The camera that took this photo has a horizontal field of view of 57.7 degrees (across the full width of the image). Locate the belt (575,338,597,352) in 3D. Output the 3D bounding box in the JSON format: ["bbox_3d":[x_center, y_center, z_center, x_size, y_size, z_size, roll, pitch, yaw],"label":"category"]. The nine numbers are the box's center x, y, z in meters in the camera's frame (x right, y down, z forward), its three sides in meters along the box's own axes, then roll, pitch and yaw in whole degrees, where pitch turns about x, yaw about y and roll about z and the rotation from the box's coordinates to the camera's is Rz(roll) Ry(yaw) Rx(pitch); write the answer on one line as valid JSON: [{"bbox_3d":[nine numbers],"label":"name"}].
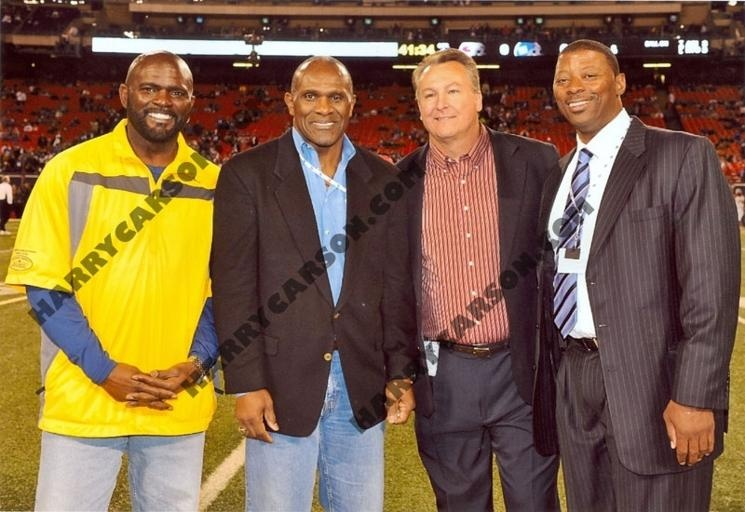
[{"bbox_3d":[1.161,0.475,3.681,0.026,0.085,0.083,-42,15,-13],"label":"belt"}]
